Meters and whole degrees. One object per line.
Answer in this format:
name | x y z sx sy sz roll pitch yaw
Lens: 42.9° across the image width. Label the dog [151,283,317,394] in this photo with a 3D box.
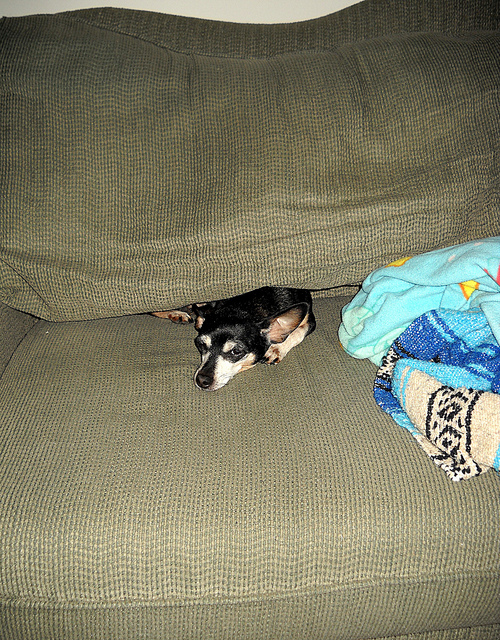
dog | -0.092 -0.013 2.763 0.729 0.297 0.794 7 28 17
